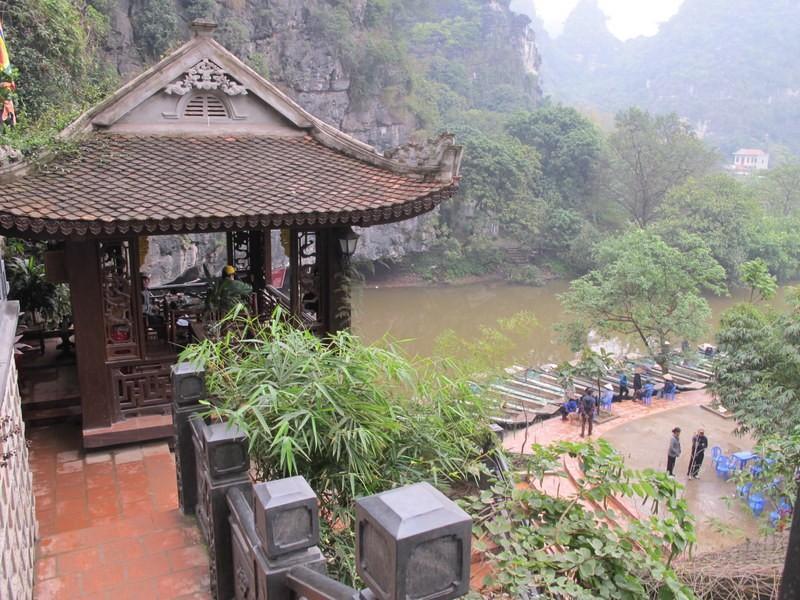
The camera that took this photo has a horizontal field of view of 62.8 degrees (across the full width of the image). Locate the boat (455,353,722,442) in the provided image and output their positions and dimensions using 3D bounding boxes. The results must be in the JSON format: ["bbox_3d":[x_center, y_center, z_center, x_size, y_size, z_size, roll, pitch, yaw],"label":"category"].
[{"bbox_3d":[4.837,2.409,15.901,4.088,0.710,1.520,-15,38,-6],"label":"boat"}]

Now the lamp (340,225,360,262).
[{"bbox_3d":[-0.602,-0.751,8.691,0.247,0.426,0.353,2,8,33],"label":"lamp"}]

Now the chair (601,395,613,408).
[{"bbox_3d":[5.368,2.625,16.982,0.311,0.377,0.296,1,8,19],"label":"chair"}]

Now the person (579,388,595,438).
[{"bbox_3d":[4.332,2.603,15.106,0.306,1.069,0.680,-1,7,16],"label":"person"}]

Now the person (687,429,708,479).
[{"bbox_3d":[6.135,3.075,13.489,0.332,1.112,1.180,0,7,24],"label":"person"}]
